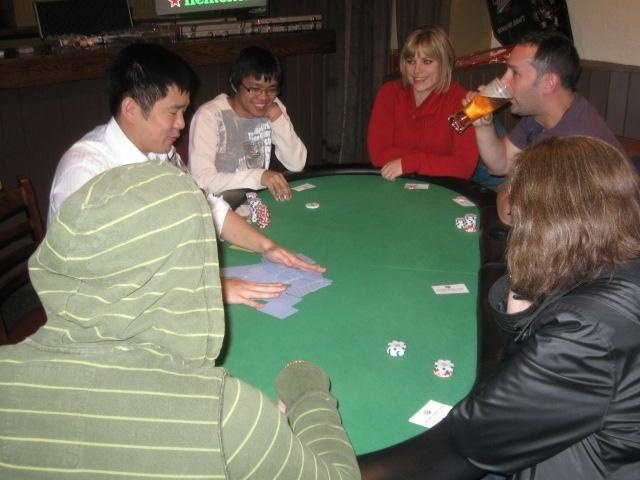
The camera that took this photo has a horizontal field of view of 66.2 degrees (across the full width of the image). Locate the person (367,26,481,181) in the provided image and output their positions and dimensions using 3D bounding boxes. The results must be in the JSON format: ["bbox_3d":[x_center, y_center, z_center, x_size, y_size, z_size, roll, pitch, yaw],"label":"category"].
[{"bbox_3d":[0.711,-0.978,3.441,0.695,0.985,0.842,-7,22,-7],"label":"person"}]

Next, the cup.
[{"bbox_3d":[0.855,-0.718,2.644,0.117,0.276,0.309,-16,22,-36],"label":"cup"}]
